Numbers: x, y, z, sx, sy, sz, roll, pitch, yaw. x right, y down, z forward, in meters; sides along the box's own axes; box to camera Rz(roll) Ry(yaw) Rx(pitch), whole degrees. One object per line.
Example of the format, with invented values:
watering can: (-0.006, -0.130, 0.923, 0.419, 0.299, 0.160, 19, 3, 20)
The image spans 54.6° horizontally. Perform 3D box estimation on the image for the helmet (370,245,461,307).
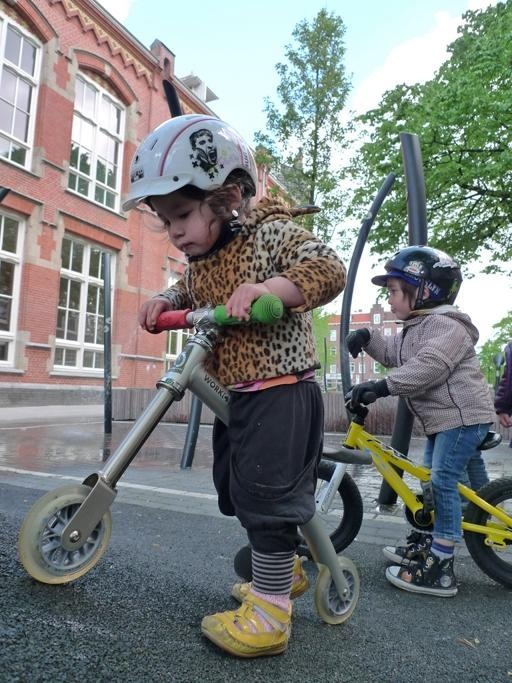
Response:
helmet: (0.842, -0.323, 2.570, 0.459, 0.350, 0.325, 5, 12, 17)

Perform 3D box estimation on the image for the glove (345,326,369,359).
glove: (0.558, 0.000, 2.702, 0.127, 0.155, 0.076, -5, 20, -41)

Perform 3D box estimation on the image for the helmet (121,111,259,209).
helmet: (-0.196, -0.536, 1.462, 0.437, 0.226, 0.293, -15, 14, -31)

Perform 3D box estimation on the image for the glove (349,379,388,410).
glove: (0.500, 0.231, 2.172, 0.157, 0.053, 0.112, -8, -5, -24)

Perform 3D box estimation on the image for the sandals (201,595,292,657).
sandals: (-0.013, 0.758, 1.343, 0.256, 0.156, 0.148, 19, -19, -32)

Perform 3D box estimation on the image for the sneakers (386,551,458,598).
sneakers: (0.684, 0.941, 2.039, 0.303, 0.167, 0.133, 1, -15, 15)

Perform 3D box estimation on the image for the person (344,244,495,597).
person: (0.796, 0.336, 2.336, 0.689, 1.660, 0.839, -2, 3, 9)
